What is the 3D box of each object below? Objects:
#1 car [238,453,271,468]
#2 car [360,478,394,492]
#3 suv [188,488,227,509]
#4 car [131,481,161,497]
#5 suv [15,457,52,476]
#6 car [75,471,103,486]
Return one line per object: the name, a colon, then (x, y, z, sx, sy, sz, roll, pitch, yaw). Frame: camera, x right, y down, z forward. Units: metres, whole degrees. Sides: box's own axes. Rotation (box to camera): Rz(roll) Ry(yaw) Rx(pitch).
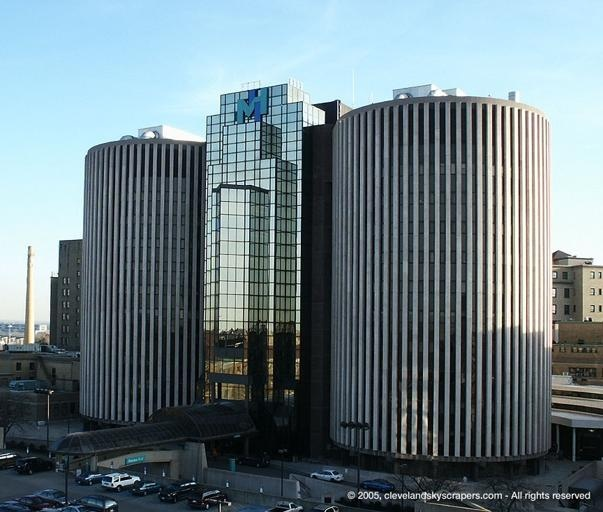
car: (-6.492, 27.659, 151.390, 3.134, 0.949, 1.800, -2, -5, 29)
car: (9.376, 28.217, 137.915, 3.492, 1.061, 1.534, 2, 0, 20)
suv: (-10.823, 28.367, 130.755, 3.292, 1.843, 4.515, -3, -5, 27)
car: (-18.780, 27.773, 133.727, 3.306, 1.460, 1.309, 2, -6, -43)
suv: (-34.259, 26.724, 142.556, 3.779, 1.472, 2.026, -4, 7, -38)
car: (-26.043, 27.210, 136.675, 2.945, 1.290, 1.296, 1, -5, -28)
